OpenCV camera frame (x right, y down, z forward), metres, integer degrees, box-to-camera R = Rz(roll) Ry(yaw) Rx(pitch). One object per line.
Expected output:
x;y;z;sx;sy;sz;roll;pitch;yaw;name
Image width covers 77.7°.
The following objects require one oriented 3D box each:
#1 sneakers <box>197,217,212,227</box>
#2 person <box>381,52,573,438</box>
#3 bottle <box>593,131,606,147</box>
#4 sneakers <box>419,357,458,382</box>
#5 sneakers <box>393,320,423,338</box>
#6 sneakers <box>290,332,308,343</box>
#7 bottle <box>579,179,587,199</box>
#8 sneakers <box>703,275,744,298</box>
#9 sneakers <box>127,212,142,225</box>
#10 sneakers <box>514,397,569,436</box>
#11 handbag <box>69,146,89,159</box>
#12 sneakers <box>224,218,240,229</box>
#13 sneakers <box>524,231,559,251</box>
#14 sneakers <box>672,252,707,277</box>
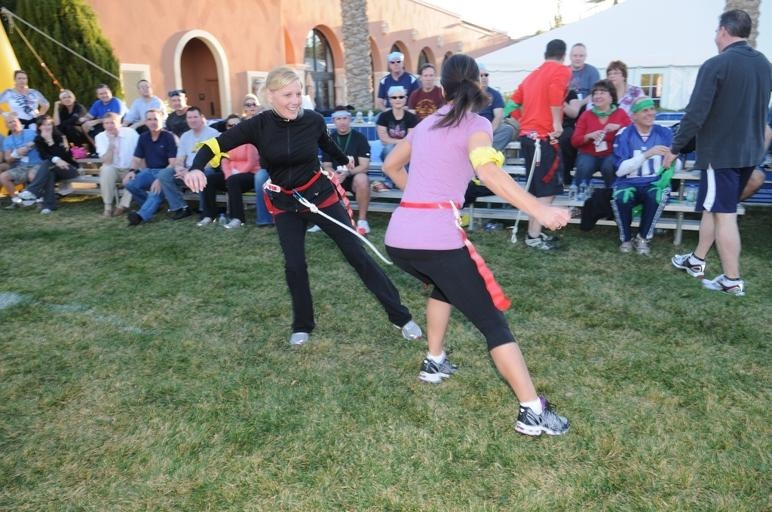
-2.903;-0.536;7.664;0.120;0.099;0.250;0;1;25;sneakers
0.504;-0.058;3.072;0.613;2.363;1.287;-18;22;-40;person
2.871;-1.576;6.440;0.056;0.121;0.170;26;60;27;bottle
0.405;0.854;3.678;0.319;0.134;0.128;-6;7;-44;sneakers
0.199;0.648;4.243;0.135;0.095;0.240;-24;23;-34;sneakers
-0.756;0.716;4.158;0.090;0.036;0.121;4;14;10;sneakers
2.725;-0.901;6.605;0.136;0.264;0.164;5;18;25;bottle
3.412;0.277;4.868;0.178;0.192;0.437;-14;17;-32;sneakers
-4.024;-0.565;7.574;0.181;0.216;0.210;-5;1;0;sneakers
1.062;1.039;3.186;0.431;0.247;0.158;-2;9;-12;sneakers
-6.001;-1.996;9.335;0.295;0.145;0.278;6;14;-7;handbag
-2.398;-0.484;7.499;0.140;0.103;0.272;5;7;20;sneakers
2.058;-0.181;6.281;0.365;0.154;0.257;-2;15;-2;sneakers
3.371;0.070;5.371;0.185;0.201;0.442;-1;23;-11;sneakers
